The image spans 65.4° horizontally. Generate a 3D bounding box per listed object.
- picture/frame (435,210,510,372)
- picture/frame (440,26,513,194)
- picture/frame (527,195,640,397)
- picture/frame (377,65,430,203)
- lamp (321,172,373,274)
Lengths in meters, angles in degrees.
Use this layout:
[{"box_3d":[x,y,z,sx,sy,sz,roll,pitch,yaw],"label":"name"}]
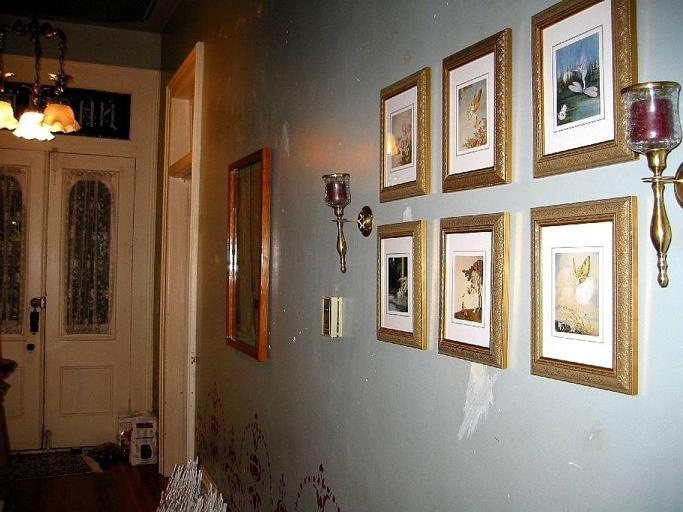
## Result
[{"box_3d":[0.377,0.088,1.518,0.034,0.361,0.250,3,0,-32],"label":"picture/frame"},{"box_3d":[0.387,-0.406,1.522,0.053,0.374,0.243,3,0,-29],"label":"picture/frame"},{"box_3d":[0.571,0.080,1.262,0.038,0.345,0.255,3,0,-36],"label":"picture/frame"},{"box_3d":[0.213,-0.397,1.782,0.052,0.385,0.252,3,0,-27],"label":"picture/frame"},{"box_3d":[-0.008,-0.130,2.034,0.158,0.345,0.293,3,0,-24],"label":"lamp"}]
